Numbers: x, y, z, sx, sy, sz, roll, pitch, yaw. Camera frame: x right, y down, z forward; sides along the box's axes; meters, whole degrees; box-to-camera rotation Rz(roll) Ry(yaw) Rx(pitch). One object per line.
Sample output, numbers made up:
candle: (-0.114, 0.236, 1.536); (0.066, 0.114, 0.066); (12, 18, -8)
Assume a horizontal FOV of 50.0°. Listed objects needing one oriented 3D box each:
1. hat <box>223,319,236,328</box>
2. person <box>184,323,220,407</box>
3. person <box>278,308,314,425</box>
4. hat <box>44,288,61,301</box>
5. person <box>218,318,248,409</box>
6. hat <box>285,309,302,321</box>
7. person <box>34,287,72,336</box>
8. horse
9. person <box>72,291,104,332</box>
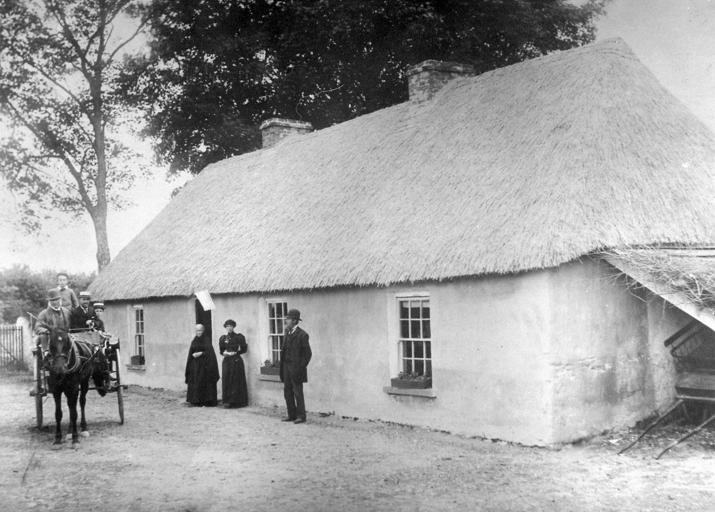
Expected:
hat: (-3.173, 1.663, 18.987); (0.279, 0.222, 0.551); (-2, 3, -10)
person: (-3.889, 2.706, 19.165); (0.845, 2.024, 0.666); (-2, 3, -11)
person: (-1.355, 2.391, 16.748); (0.448, 2.430, 0.727); (-3, 4, -36)
hat: (-6.137, 0.767, 15.376); (0.301, 0.117, 0.283); (-5, 2, 32)
person: (-3.050, 2.624, 18.891); (0.676, 2.134, 0.553); (-2, 3, -11)
hat: (-1.362, 1.257, 16.774); (0.236, 0.112, 0.272); (-2, -16, 40)
person: (-5.997, 1.112, 15.184); (0.650, 0.826, 0.526); (-5, -3, -25)
horse: (-5.913, 2.682, 15.381); (0.649, 2.088, 2.824); (-4, -13, -19)
person: (-5.715, 1.337, 16.158); (0.652, 1.137, 0.530); (3, 4, 16)
